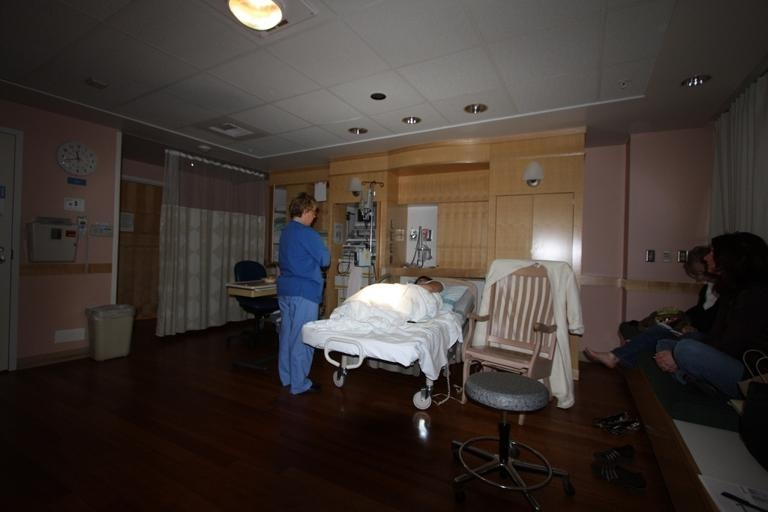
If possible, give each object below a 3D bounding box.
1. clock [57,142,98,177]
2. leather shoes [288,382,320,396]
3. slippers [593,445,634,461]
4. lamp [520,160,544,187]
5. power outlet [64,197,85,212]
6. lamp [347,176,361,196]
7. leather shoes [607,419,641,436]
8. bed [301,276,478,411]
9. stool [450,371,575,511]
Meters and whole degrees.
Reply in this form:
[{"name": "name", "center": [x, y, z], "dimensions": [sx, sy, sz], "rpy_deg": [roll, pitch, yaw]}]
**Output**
[{"name": "clock", "center": [-4.238, -1.315, 6.530], "dimensions": [0.047, 0.475, 0.469], "rpy_deg": [0, -7, 36]}, {"name": "leather shoes", "center": [-0.928, 1.528, 5.614], "dimensions": [0.379, 0.162, 0.141], "rpy_deg": [-3, 5, -26]}, {"name": "slippers", "center": [2.241, 1.902, 4.597], "dimensions": [0.294, 0.052, 0.154], "rpy_deg": [-3, 1, -11]}, {"name": "lamp", "center": [2.098, -1.147, 6.684], "dimensions": [0.276, 0.358, 0.146], "rpy_deg": [3, 6, 15]}, {"name": "power outlet", "center": [-4.257, -0.694, 6.533], "dimensions": [0.055, 0.166, 0.245], "rpy_deg": [7, 2, 39]}, {"name": "lamp", "center": [-0.471, -1.131, 7.819], "dimensions": [0.197, 0.316, 0.359], "rpy_deg": [1, 6, -4]}, {"name": "leather shoes", "center": [2.504, 1.779, 4.993], "dimensions": [0.349, 0.132, 0.127], "rpy_deg": [-8, 26, 0]}, {"name": "bed", "center": [0.203, 0.905, 5.483], "dimensions": [1.181, 0.901, 1.812], "rpy_deg": [3, 6, 25]}, {"name": "stool", "center": [1.174, 1.604, 4.630], "dimensions": [1.029, 1.027, 1.123], "rpy_deg": [0, -2, -12]}]
